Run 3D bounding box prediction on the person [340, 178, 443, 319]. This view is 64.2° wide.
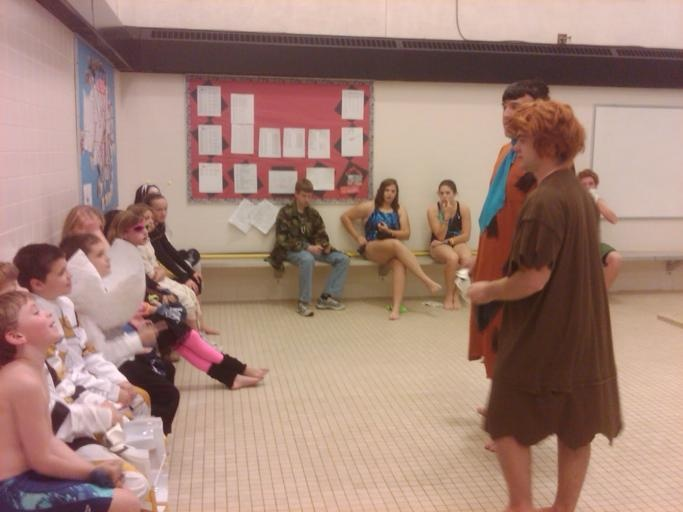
[{"bbox_3d":[0.468,-0.137,5.803,0.672,1.349,0.997,-6,13,-29],"label":"person"}]

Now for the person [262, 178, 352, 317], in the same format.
[{"bbox_3d":[-0.354,-0.063,5.703,0.672,1.252,0.585,10,15,41],"label":"person"}]

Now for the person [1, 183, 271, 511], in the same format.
[{"bbox_3d":[-1.265,0.391,3.258,1.125,1.268,2.161,1,12,4],"label":"person"}]

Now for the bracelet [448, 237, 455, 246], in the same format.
[{"bbox_3d":[1.186,-0.155,5.860,0.058,0.045,0.081,-7,22,-23],"label":"bracelet"}]

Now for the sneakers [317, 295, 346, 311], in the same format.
[{"bbox_3d":[-0.112,0.498,5.839,0.298,0.167,0.137,0,9,-3],"label":"sneakers"}]

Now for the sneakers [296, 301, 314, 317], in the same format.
[{"bbox_3d":[-0.371,0.535,5.544,0.164,0.119,0.162,-1,12,-6],"label":"sneakers"}]
